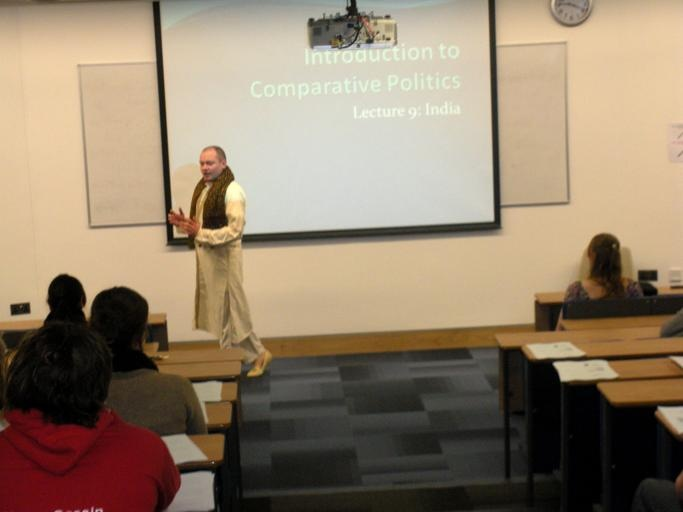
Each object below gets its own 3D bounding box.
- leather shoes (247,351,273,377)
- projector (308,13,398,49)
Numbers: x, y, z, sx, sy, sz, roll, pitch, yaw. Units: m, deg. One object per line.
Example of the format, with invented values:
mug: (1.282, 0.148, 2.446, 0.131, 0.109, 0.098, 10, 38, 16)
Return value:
leather shoes: (-0.729, 0.982, 5.357, 0.112, 0.323, 0.125, 20, 21, -28)
projector: (0.120, -2.109, 5.622, 0.575, 0.255, 0.468, -2, 7, -6)
